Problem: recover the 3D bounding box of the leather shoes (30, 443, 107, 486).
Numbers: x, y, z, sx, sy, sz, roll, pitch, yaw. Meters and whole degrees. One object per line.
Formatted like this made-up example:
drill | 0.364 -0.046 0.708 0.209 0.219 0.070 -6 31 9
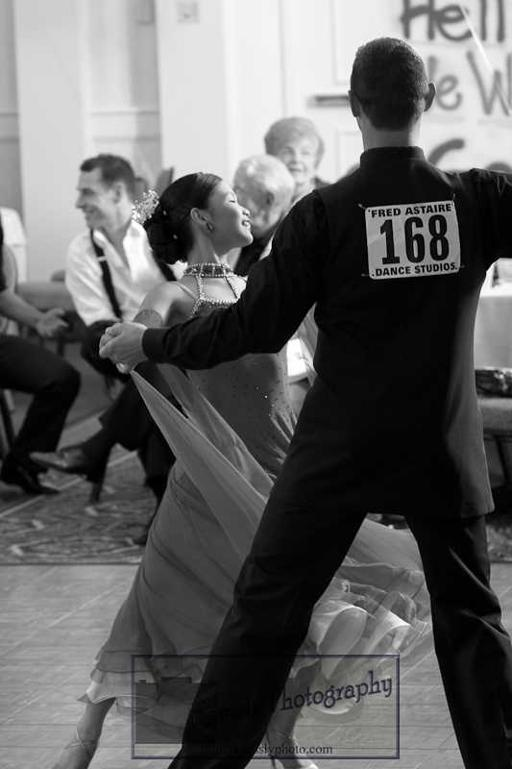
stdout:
leather shoes | -0.695 0.298 3.693 0.392 0.137 0.120 15 -2 -27
